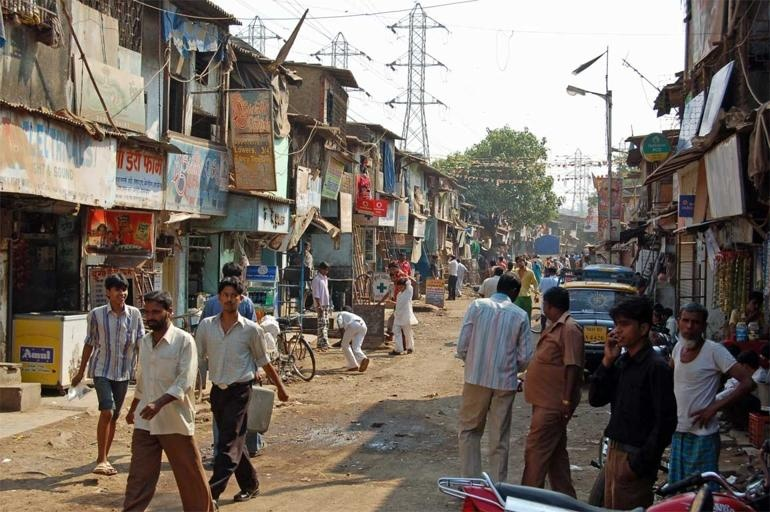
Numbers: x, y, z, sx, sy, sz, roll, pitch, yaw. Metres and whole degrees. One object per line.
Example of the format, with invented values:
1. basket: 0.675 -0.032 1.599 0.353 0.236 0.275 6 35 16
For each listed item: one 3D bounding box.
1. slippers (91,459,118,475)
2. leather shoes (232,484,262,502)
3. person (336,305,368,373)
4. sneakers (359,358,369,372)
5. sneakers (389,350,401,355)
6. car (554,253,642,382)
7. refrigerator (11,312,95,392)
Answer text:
1. slippers: -3.941 2.991 12.346 0.314 0.198 0.360 3 -5 -18
2. leather shoes: -1.849 3.253 11.824 0.130 0.146 0.336 -3 -10 37
3. person: -0.683 1.844 18.731 0.632 1.266 0.710 2 -4 -4
4. sneakers: -0.424 2.348 18.679 0.138 0.336 0.136 15 12 -30
5. sneakers: 0.270 2.345 21.264 0.295 0.113 0.264 1 -5 1
6. car: 4.710 1.030 18.875 1.677 1.601 3.717 0 5 7
7. refrigerator: -5.655 1.662 14.813 1.303 1.181 0.773 3 8 21
